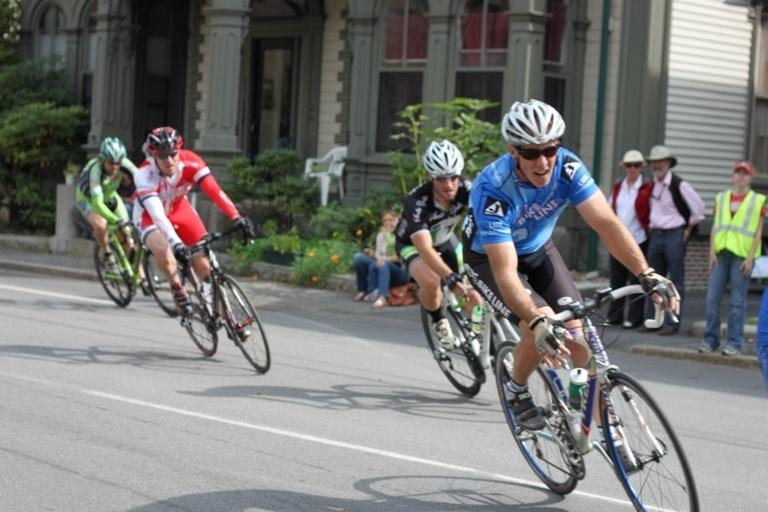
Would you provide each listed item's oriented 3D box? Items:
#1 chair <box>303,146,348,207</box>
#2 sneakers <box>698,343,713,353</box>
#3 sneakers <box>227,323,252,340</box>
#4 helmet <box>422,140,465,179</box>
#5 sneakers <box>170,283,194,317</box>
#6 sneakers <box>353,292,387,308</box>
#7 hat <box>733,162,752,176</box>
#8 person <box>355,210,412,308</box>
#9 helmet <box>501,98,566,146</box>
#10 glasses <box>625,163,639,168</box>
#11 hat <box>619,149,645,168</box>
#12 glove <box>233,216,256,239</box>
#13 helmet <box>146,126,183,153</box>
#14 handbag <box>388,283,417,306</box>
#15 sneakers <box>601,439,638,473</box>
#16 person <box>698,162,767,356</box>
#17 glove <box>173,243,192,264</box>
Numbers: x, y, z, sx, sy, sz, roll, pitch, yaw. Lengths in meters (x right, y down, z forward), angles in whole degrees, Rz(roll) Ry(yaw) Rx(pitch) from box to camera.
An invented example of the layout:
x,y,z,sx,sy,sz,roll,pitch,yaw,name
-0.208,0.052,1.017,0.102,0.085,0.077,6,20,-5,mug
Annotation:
x,y,z,sx,sy,sz,roll,pitch,yaw,name
-1.310,-1.821,22.217,0.785,1.257,0.911,10,20,7,chair
4.552,1.306,14.518,0.095,0.108,0.262,-6,-11,43,sneakers
-1.828,0.961,13.005,0.335,0.214,0.147,2,4,35,sneakers
0.694,-1.150,12.137,0.347,0.241,0.506,-1,48,-5,helmet
-2.670,0.572,13.725,0.189,0.551,0.230,-22,2,-5,sneakers
-0.187,0.715,17.426,0.234,0.175,0.450,6,-1,-40,sneakers
5.075,-1.220,14.507,0.221,0.152,0.303,6,12,17,hat
-0.008,0.009,17.616,0.943,1.526,1.248,3,8,21,person
1.443,-1.265,9.949,0.577,0.424,0.330,3,12,6,helmet
3.909,-1.394,16.112,0.120,0.050,0.091,0,-5,-11,glasses
3.938,-1.511,16.288,0.399,0.183,0.505,0,-4,7,hat
-1.799,-0.320,13.208,0.126,0.324,0.239,-14,24,39,glove
-2.904,-1.499,13.512,0.447,0.333,0.518,-1,12,-14,helmet
0.329,0.674,17.529,0.436,0.346,0.206,-6,23,-3,handbag
2.197,1.842,9.528,0.081,0.319,0.172,-29,-27,-3,sneakers
4.953,0.035,14.562,0.691,2.638,1.058,6,12,18,person
-2.565,-0.015,13.064,0.091,0.253,0.186,-48,4,-30,glove
